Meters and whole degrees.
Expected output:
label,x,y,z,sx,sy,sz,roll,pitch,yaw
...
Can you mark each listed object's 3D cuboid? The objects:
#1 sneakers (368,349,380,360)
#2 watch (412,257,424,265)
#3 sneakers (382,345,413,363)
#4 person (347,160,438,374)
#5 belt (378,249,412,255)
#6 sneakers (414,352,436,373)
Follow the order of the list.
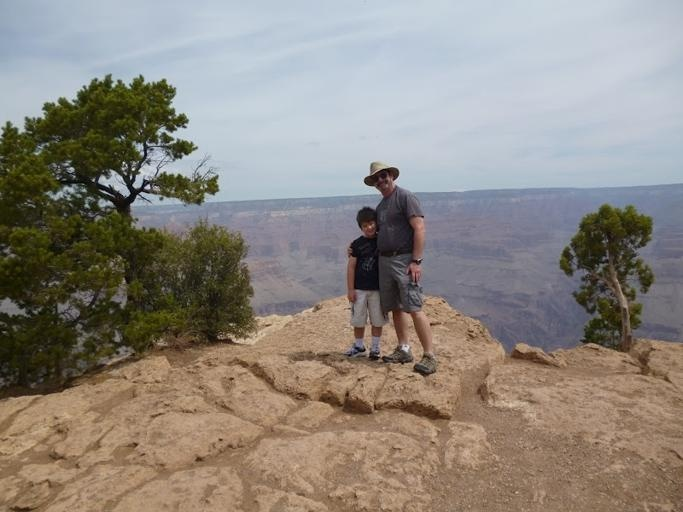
label,x,y,z,sx,sy,sz,roll,pitch,yaw
sneakers,0.517,1.536,7.897,0.104,0.129,0.294,-1,-17,2
watch,1.100,0.077,7.370,0.088,0.067,0.111,4,-11,-37
sneakers,0.855,1.518,7.887,0.544,0.296,0.200,-2,0,-6
person,0.924,0.173,7.529,0.987,3.107,0.463,3,11,39
belt,0.810,-0.047,7.475,0.462,0.095,0.103,-2,8,12
sneakers,1.244,1.581,7.452,0.339,0.299,0.291,-3,8,7
